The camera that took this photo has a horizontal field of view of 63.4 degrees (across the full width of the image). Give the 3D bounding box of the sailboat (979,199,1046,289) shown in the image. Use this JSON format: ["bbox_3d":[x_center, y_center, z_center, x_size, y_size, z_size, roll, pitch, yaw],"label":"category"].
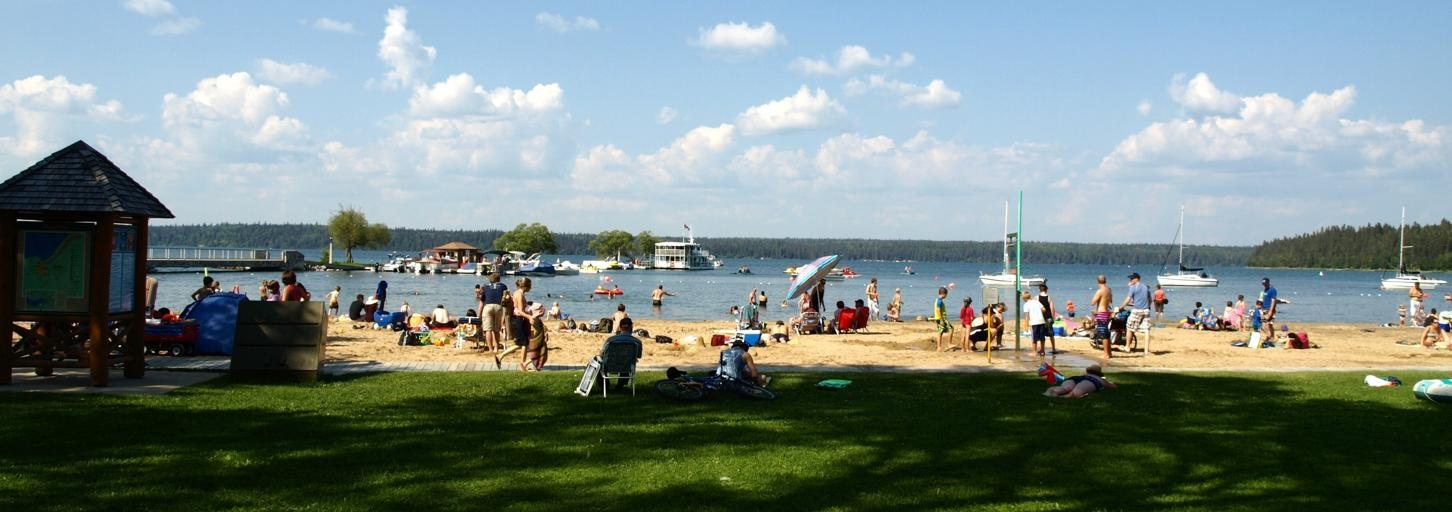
[{"bbox_3d":[51.572,1.386,210.044,7.162,10.102,4.931,4,-1,-29],"label":"sailboat"}]
